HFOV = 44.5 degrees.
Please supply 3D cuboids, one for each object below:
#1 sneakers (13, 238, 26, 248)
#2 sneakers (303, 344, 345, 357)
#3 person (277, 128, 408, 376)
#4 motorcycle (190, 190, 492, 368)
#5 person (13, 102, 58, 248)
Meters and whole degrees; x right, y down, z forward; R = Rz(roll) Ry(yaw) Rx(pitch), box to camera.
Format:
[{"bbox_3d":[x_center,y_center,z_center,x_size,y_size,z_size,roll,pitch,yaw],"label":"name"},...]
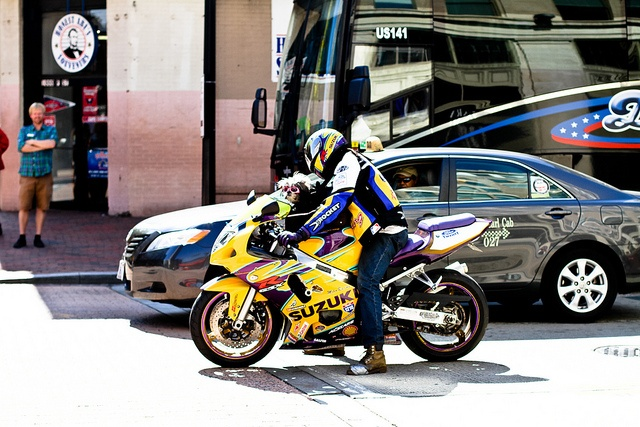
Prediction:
[{"bbox_3d":[-5.516,0.479,14.346,0.231,0.200,0.385,0,6,-21],"label":"sneakers"},{"bbox_3d":[0.080,1.417,8.163,0.531,0.177,0.167,3,-3,-9],"label":"sneakers"},{"bbox_3d":[0.335,0.363,7.878,1.093,2.487,0.551,3,7,5],"label":"person"},{"bbox_3d":[0.184,0.732,8.219,3.542,1.491,1.013,2,-11,-26],"label":"motorcycle"},{"bbox_3d":[-5.218,-0.746,14.410,0.644,2.630,0.560,0,7,-18],"label":"person"}]
